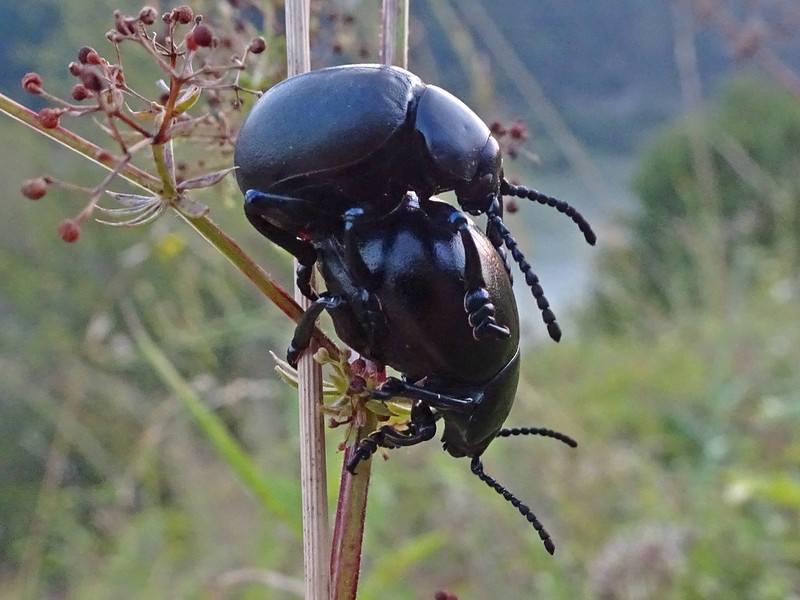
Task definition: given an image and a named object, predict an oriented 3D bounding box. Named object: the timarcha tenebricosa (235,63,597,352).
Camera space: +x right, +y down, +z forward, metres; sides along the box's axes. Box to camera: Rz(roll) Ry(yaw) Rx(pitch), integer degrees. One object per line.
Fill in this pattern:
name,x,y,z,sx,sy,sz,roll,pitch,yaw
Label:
timarcha tenebricosa,0.025,-0.278,2.573,0.792,0.447,0.539,10,14,9
